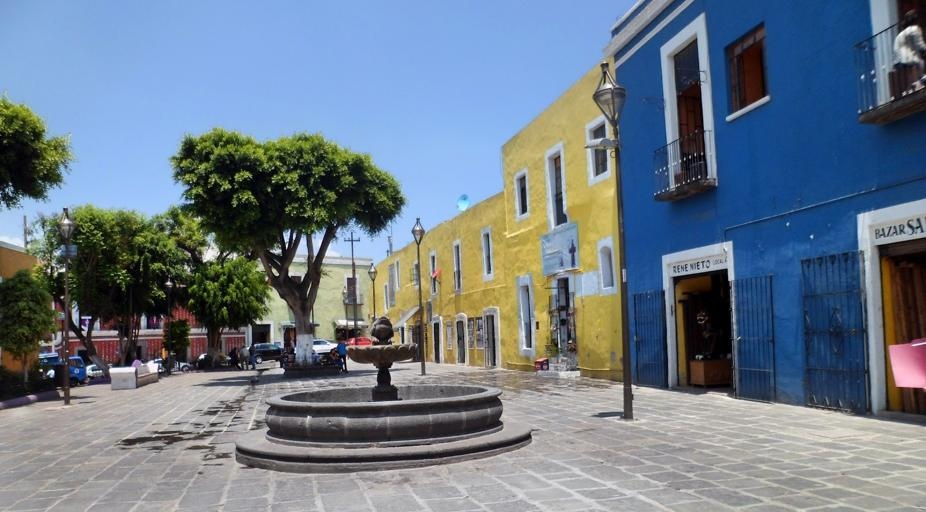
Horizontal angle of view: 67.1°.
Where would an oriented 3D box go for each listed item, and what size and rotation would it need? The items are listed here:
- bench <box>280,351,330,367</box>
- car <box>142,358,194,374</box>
[{"bbox_3d":[-8.291,5.375,36.517,1.490,0.767,2.325,5,-13,-34],"label":"bench"},{"bbox_3d":[-18.039,6.690,42.562,2.755,0.837,1.866,-11,-12,40],"label":"car"}]
